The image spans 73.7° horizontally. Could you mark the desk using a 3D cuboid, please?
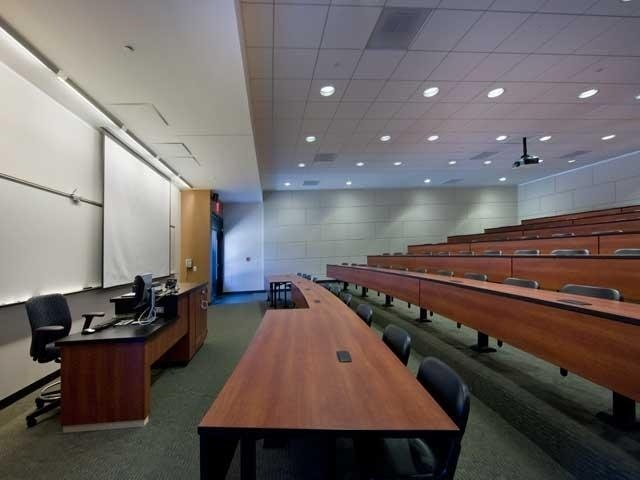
[{"bbox_3d":[-2.229,1.203,5.788,1.000,1.135,3.118,0,4,-5],"label":"desk"}]

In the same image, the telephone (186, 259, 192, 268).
[{"bbox_3d":[-2.832,0.480,9.238,0.139,0.196,0.155,1,5,-2],"label":"telephone"}]

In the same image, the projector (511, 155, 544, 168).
[{"bbox_3d":[4.204,-1.712,8.868,0.368,0.221,0.509,-2,5,4],"label":"projector"}]
